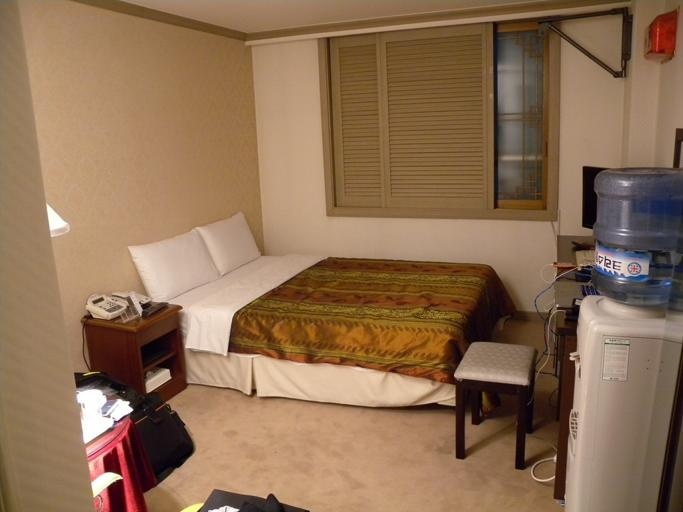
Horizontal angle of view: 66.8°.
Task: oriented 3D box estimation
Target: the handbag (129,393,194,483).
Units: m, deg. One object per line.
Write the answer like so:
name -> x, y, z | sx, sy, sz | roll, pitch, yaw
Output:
handbag -> -1.025, 1.056, 2.928 | 0.212, 0.372, 0.388 | -24, 9, 18

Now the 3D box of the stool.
stool -> 0.875, 0.900, 3.186 | 0.571, 0.681, 0.676 | 1, 13, 16

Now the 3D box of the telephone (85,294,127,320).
telephone -> -1.616, 0.347, 3.542 | 0.219, 0.108, 0.178 | 18, 24, 19

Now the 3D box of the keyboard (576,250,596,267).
keyboard -> 1.698, 0.019, 3.596 | 0.099, 0.031, 0.292 | 4, 15, 25

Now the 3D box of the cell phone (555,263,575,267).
cell phone -> 1.497, 0.068, 3.478 | 0.091, 0.016, 0.051 | 0, 7, 15
